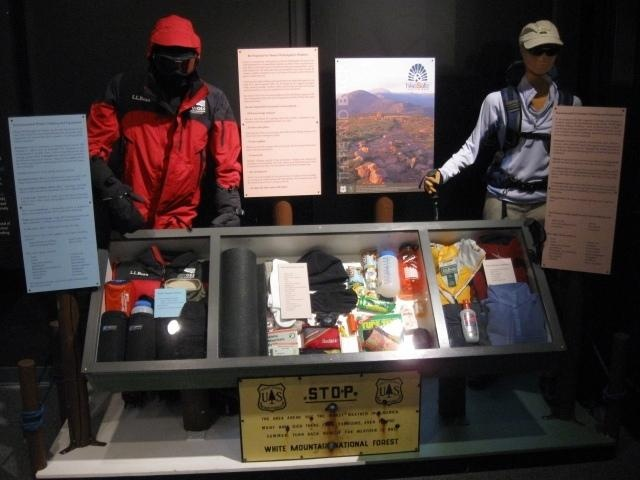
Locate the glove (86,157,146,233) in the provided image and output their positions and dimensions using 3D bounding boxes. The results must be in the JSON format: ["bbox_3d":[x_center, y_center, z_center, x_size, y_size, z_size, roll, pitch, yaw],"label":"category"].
[{"bbox_3d":[-1.082,-0.218,2.892,0.195,0.422,0.273,-19,37,4],"label":"glove"}]

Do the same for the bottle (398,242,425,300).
[{"bbox_3d":[0.543,0.142,3.128,0.157,0.416,0.158,0,-6,0],"label":"bottle"}]

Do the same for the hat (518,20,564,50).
[{"bbox_3d":[1.337,-1.265,3.122,0.175,0.122,0.234,-3,25,1],"label":"hat"}]

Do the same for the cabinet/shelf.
[{"bbox_3d":[-0.016,0.363,2.899,2.097,0.724,0.645,-1,-9,-3],"label":"cabinet/shelf"}]
